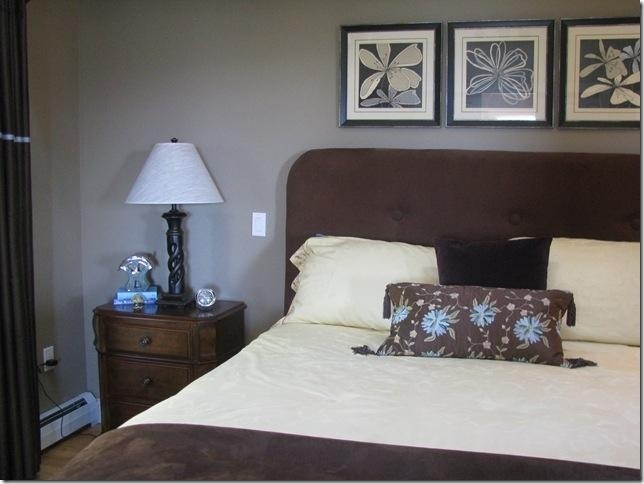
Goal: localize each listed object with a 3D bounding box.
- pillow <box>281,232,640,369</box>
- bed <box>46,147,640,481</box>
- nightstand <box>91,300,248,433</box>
[{"bbox_3d":[0.622,0.223,2.667,1.620,0.474,0.382,1,4,18],"label":"pillow"},{"bbox_3d":[0.166,0.277,2.512,1.681,1.163,0.886,1,0,18],"label":"bed"},{"bbox_3d":[-0.896,0.749,3.209,0.763,0.865,0.449,4,12,11],"label":"nightstand"}]
